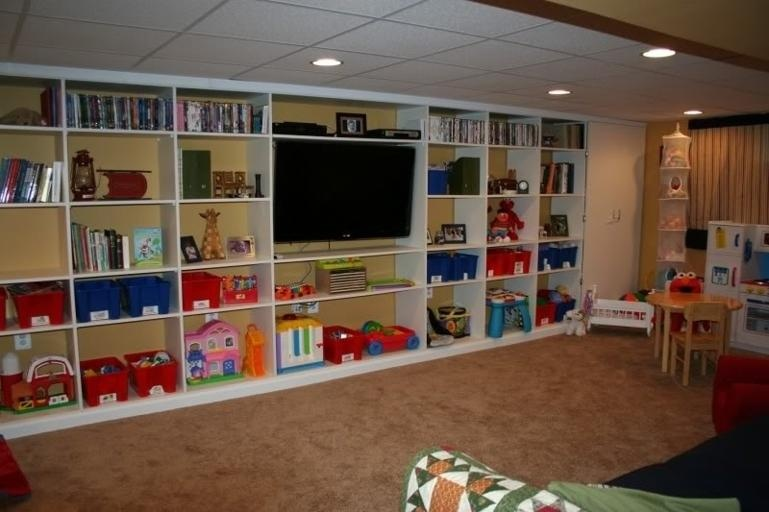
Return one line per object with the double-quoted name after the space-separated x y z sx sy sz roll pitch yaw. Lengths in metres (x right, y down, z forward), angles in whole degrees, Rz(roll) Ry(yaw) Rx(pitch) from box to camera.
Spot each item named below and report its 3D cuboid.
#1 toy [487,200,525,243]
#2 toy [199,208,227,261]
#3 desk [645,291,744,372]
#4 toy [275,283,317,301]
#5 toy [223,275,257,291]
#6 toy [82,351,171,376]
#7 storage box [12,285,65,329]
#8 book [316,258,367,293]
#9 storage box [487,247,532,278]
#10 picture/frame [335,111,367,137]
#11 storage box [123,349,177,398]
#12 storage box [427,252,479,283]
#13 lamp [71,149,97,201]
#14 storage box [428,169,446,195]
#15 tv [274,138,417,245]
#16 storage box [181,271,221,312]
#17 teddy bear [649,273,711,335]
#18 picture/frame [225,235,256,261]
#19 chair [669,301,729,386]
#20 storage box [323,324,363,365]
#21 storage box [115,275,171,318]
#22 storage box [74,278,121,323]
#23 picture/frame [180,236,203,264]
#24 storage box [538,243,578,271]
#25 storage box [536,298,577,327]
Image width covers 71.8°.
1.518 -0.422 6.559 0.557 0.600 0.238 0 -7 8 "toy"
-1.652 -0.223 5.099 0.223 0.482 0.302 -3 8 -17 "toy"
3.123 0.661 5.670 0.980 0.699 0.925 -2 6 -10 "desk"
-0.908 0.345 5.305 0.267 0.076 0.171 -5 7 -40 "toy"
-1.389 0.247 5.155 0.352 0.131 0.192 -8 11 -42 "toy"
-2.272 0.963 4.762 0.458 0.143 0.283 -5 7 -34 "toy"
-2.860 0.390 4.437 0.404 0.281 0.331 -4 9 -34 "storage box"
-0.427 0.210 5.443 0.395 0.236 0.389 -2 5 -26 "book"
1.499 0.075 6.368 0.342 0.236 0.501 -3 8 -29 "storage box"
-0.340 -1.339 5.398 0.345 0.274 0.033 -3 9 -25 "picture/frame"
-2.130 1.053 4.884 0.391 0.323 0.450 -6 9 -31 "storage box"
0.757 0.126 6.069 0.503 0.208 0.320 -1 2 -39 "storage box"
-2.578 -0.702 4.548 0.180 0.432 0.310 -5 9 -30 "lamp"
0.559 -0.842 5.994 0.266 0.342 0.290 -1 8 0 "storage box"
-0.440 -0.699 5.397 1.132 0.694 0.148 -3 11 -25 "tv"
-1.698 0.307 4.963 0.354 0.312 0.320 -3 8 -19 "storage box"
3.355 0.530 5.924 0.420 0.674 0.354 0 -12 29 "teddy bear"
-1.394 -0.104 5.195 0.366 0.298 0.184 -2 1 -23 "picture/frame"
3.236 0.807 5.454 0.478 0.806 0.890 4 9 33 "chair"
-0.424 0.915 5.567 0.365 0.214 0.355 -5 11 -26 "storage box"
-2.168 0.351 4.830 0.417 0.299 0.408 -5 9 -27 "storage box"
-2.462 0.359 4.571 0.332 0.269 0.394 -5 11 -33 "storage box"
-1.792 -0.056 4.912 0.029 0.300 0.230 -21 -3 38 "picture/frame"
2.223 0.007 6.761 0.501 0.235 0.323 0 0 -39 "storage box"
2.153 0.708 6.749 0.462 0.198 0.303 -8 11 -40 "storage box"
